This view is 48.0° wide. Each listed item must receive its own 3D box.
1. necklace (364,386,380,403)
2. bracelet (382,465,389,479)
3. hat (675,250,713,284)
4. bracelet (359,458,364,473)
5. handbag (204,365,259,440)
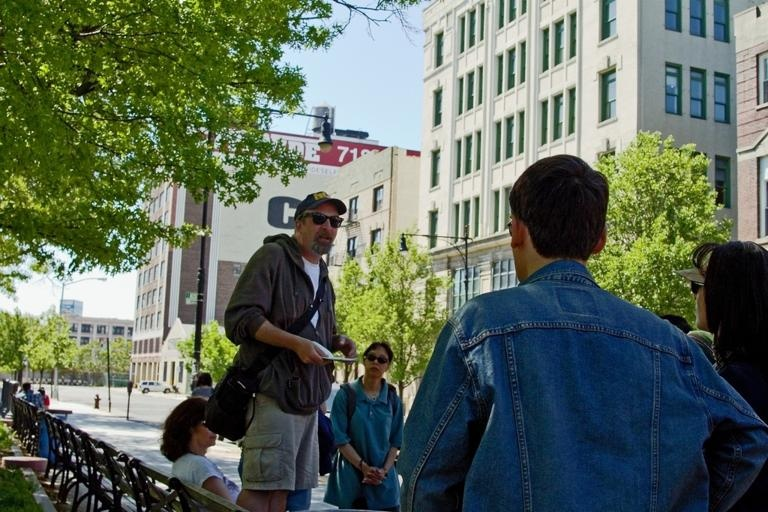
[{"bbox_3d":[-0.124,1.490,9.265,0.125,0.129,0.031,2,-35,-28],"label":"necklace"},{"bbox_3d":[0.009,2.214,8.856,0.098,0.121,0.050,0,-8,-15],"label":"bracelet"},{"bbox_3d":[2.284,0.038,6.313,0.204,0.075,0.315,19,4,27],"label":"hat"},{"bbox_3d":[-0.238,2.137,8.845,0.067,0.097,0.049,0,23,-8],"label":"bracelet"},{"bbox_3d":[-1.231,1.178,6.984,0.452,0.584,0.255,-1,-9,6],"label":"handbag"}]
